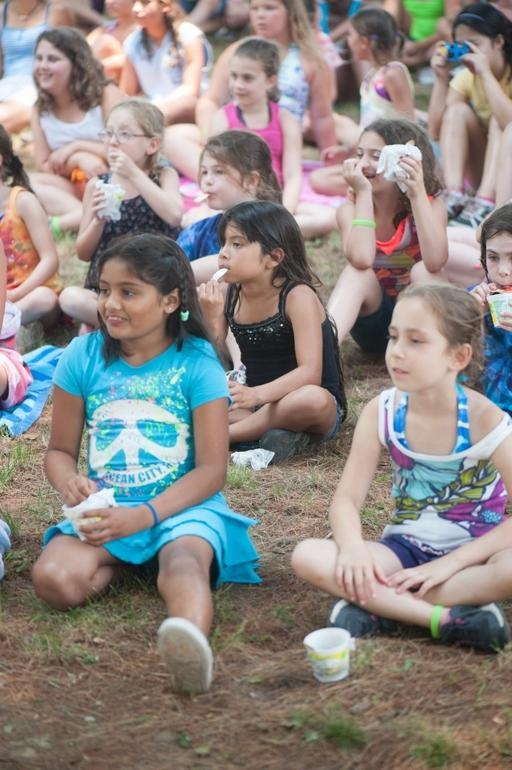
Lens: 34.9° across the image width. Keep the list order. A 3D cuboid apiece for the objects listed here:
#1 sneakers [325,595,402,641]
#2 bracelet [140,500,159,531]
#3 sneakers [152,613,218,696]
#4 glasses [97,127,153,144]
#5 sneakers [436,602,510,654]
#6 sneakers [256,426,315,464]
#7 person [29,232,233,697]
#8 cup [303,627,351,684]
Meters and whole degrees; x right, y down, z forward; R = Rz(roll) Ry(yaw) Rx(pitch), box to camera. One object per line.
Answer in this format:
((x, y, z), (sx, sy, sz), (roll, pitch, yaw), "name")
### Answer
((0.302, 0.642, 2.230), (0.143, 0.054, 0.112), (23, -27, -23), "sneakers")
((-0.305, 0.392, 2.399), (0.017, 0.061, 0.067), (-17, -6, -20), "bracelet")
((-0.167, 0.629, 1.914), (0.119, 0.231, 0.151), (-4, 13, -4), "sneakers")
((-0.753, -1.462, 4.772), (0.184, 0.047, 0.176), (4, 7, 24), "glasses")
((0.554, 0.611, 2.082), (0.147, 0.056, 0.116), (1, 12, 39), "sneakers")
((0.117, 0.267, 3.662), (0.131, 0.080, 0.224), (8, 15, 41), "sneakers")
((-0.407, 0.124, 2.321), (0.600, 1.074, 0.866), (-2, 13, 4), "person")
((0.175, 0.660, 2.001), (0.130, 0.084, 0.116), (-3, 20, 1), "cup")
